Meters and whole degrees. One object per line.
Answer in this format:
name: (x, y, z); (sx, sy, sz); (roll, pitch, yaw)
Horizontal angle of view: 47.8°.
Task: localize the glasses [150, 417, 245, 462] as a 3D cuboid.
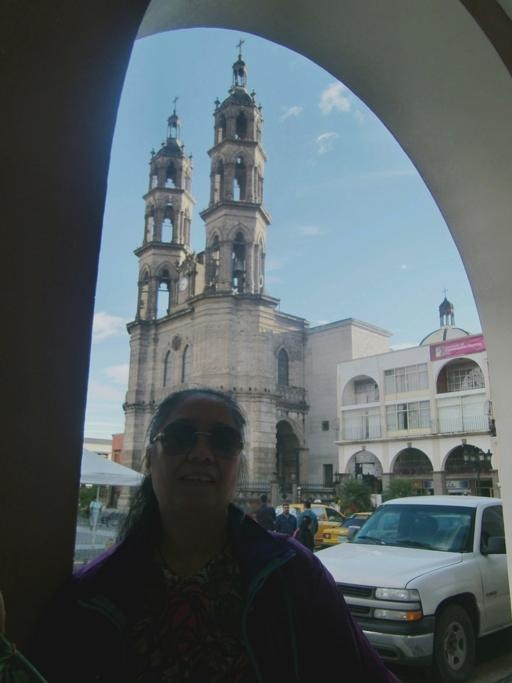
glasses: (-0.157, 0.257, 1.554); (0.128, 0.047, 0.132); (8, -41, -13)
